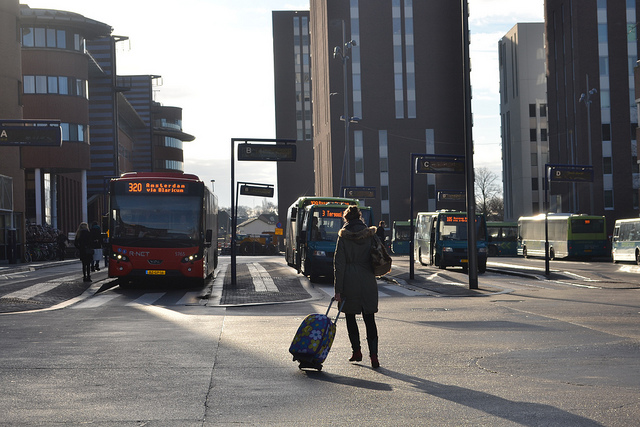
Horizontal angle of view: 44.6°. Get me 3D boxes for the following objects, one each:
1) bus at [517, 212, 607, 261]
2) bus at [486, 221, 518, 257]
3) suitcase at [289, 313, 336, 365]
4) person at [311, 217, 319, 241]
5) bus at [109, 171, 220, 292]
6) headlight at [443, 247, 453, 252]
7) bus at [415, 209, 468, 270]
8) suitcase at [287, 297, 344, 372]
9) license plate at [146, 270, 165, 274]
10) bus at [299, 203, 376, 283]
[{"bbox_3d":[16.512,1.552,54.676,2.545,2.546,7.765,1,1,-10],"label":"bus"},{"bbox_3d":[15.326,2.184,65.591,2.293,2.947,3.457,-2,0,14],"label":"bus"},{"bbox_3d":[-0.148,2.313,14.327,0.837,0.905,0.472,-2,0,-4],"label":"suitcase"},{"bbox_3d":[-0.232,0.637,31.291,0.302,0.917,0.457,-2,0,-1],"label":"person"},{"bbox_3d":[-5.968,0.989,31.047,3.526,4.104,9.992,1,-5,-2],"label":"bus"},{"bbox_3d":[6.392,1.827,39.186,0.459,0.219,0.070,-2,0,24],"label":"headlight"},{"bbox_3d":[6.647,1.359,42.820,2.731,2.881,6.931,-2,0,-6],"label":"bus"},{"bbox_3d":[-0.146,2.374,14.333,0.833,1.234,0.481,-2,0,-2],"label":"suitcase"},{"bbox_3d":[-5.503,1.947,26.031,0.588,0.130,0.114,-2,0,-15],"label":"license plate"},{"bbox_3d":[0.064,1.041,31.712,2.585,2.532,8.348,-1,-1,-1],"label":"bus"}]
